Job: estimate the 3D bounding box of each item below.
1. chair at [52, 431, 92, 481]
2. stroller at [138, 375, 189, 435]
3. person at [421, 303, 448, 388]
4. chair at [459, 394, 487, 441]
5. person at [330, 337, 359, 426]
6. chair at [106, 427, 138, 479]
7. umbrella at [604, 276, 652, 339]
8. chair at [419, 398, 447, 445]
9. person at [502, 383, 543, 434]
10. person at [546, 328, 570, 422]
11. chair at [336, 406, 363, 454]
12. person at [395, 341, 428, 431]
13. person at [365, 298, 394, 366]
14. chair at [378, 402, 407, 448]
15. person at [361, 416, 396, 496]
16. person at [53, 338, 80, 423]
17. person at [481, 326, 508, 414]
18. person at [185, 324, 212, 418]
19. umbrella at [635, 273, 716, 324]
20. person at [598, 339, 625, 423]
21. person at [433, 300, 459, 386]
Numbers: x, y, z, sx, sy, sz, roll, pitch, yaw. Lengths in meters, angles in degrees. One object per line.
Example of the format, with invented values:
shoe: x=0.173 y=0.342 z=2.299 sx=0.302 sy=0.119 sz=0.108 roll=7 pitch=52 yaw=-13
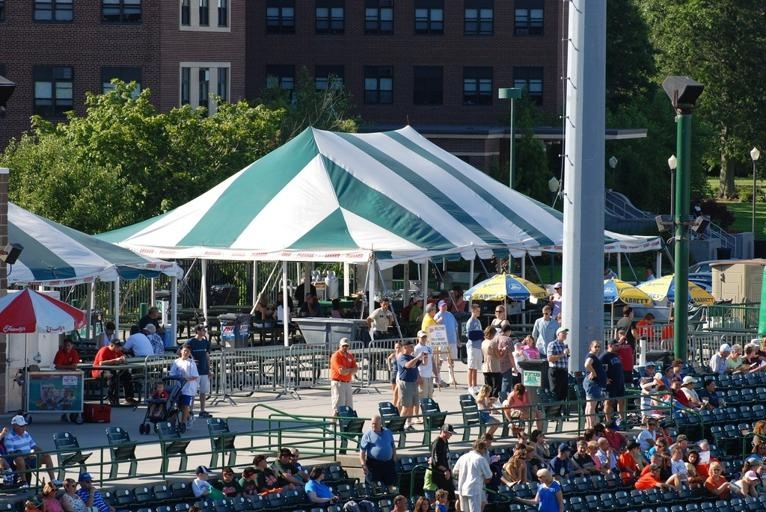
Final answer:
chair: x=-9.885 y=6.355 z=73.157 sx=1.308 sy=1.991 sz=1.363 roll=-1 pitch=-5 yaw=-44
stroller: x=-7.291 y=4.904 z=76.990 sx=1.154 sy=1.644 sz=0.990 roll=-13 pitch=13 yaw=-42
person: x=1.760 y=3.004 z=81.369 sx=0.875 sy=2.536 sz=0.695 roll=1 pitch=0 yaw=2
chair: x=3.025 y=5.442 z=76.730 sx=0.772 sy=1.262 sz=1.622 roll=-4 pitch=2 yaw=2
person: x=-1.256 y=4.291 z=77.676 sx=0.790 sy=2.910 sz=0.873 roll=-5 pitch=10 yaw=-17
chair: x=-8.340 y=6.354 z=73.804 sx=0.928 sy=1.464 sz=1.575 roll=-4 pitch=2 yaw=-7
umbrella: x=8.996 y=1.812 z=87.120 sx=2.768 sy=2.017 sz=2.605 roll=-4 pitch=5 yaw=-33
chair: x=1.657 y=5.459 z=76.249 sx=0.926 sy=1.199 sz=0.968 roll=-2 pitch=-8 yaw=36
person: x=4.717 y=5.237 z=76.923 sx=1.164 sy=1.873 sz=1.120 roll=-14 pitch=8 yaw=-20
person: x=6.105 y=3.989 z=78.204 sx=0.909 sy=3.101 sz=1.064 roll=4 pitch=6 yaw=24
chair: x=-1.019 y=5.756 z=75.672 sx=0.834 sy=1.307 sz=1.353 roll=-4 pitch=2 yaw=-1
person: x=1.099 y=4.441 z=77.702 sx=1.018 sy=2.808 sz=1.126 roll=-1 pitch=5 yaw=33
person: x=-0.014 y=2.739 z=83.629 sx=0.897 sy=2.230 sz=0.686 roll=2 pitch=8 yaw=-15
chair: x=0.407 y=5.738 z=75.888 sx=0.786 sy=0.989 sz=0.876 roll=1 pitch=-17 yaw=16
person: x=-0.108 y=6.505 z=74.075 sx=0.915 sy=2.595 sz=1.022 roll=1 pitch=1 yaw=-4
person: x=-10.789 y=4.031 z=78.753 sx=0.819 sy=2.370 sz=0.563 roll=-2 pitch=16 yaw=-7
person: x=3.694 y=3.694 z=78.979 sx=0.625 sy=2.378 sz=0.831 roll=-1 pitch=-2 yaw=31
person: x=-6.205 y=3.928 z=78.358 sx=1.071 sy=3.225 sz=0.745 roll=1 pitch=0 yaw=-28
umbrella: x=11.382 y=1.237 z=87.853 sx=2.866 sy=0.989 sz=2.787 roll=-6 pitch=9 yaw=-39
person: x=7.880 y=4.289 z=77.971 sx=0.728 sy=2.560 sz=0.955 roll=1 pitch=-1 yaw=-6
person: x=2.319 y=3.008 z=82.086 sx=0.988 sy=2.838 sz=0.779 roll=0 pitch=1 yaw=-2
